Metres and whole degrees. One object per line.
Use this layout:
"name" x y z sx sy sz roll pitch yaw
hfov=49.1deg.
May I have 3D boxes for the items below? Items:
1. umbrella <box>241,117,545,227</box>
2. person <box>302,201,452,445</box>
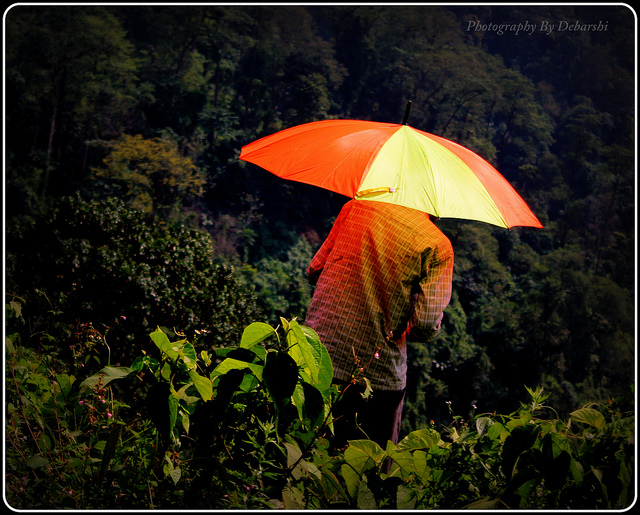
"umbrella" 0.564 -0.698 5.284 2.146 0.853 0.613 4 -8 1
"person" 0.463 0.504 5.566 1.124 1.905 0.434 2 -9 10
